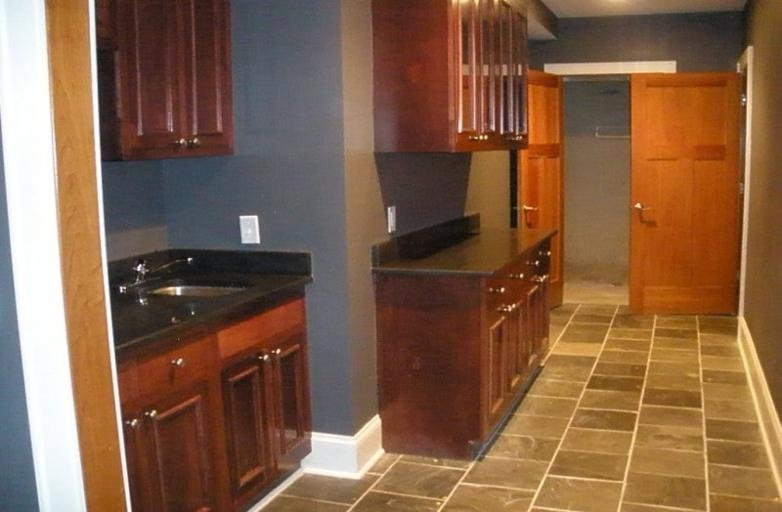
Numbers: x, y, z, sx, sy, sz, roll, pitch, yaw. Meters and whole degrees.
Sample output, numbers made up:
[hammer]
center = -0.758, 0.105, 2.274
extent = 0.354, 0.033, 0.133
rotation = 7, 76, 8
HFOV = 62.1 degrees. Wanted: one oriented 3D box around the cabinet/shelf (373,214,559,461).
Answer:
[cabinet/shelf]
center = 0.402, 0.496, 3.680
extent = 0.524, 0.814, 1.317
rotation = -2, 10, 18
